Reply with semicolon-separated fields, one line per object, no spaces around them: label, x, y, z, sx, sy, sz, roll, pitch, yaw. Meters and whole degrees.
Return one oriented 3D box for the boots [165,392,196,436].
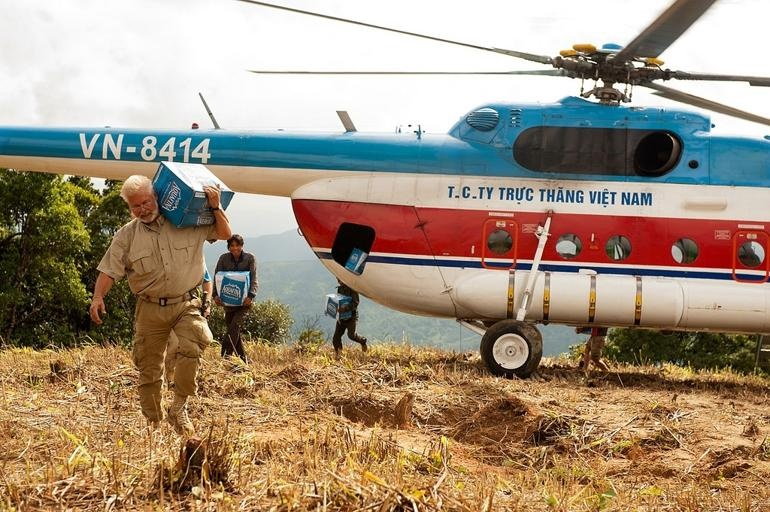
boots;-2.533;2.008;8.652;0.271;0.468;0.556;-7;7;-25

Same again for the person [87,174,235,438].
person;-2.902;0.543;8.850;1.496;3.125;0.926;4;5;-3
